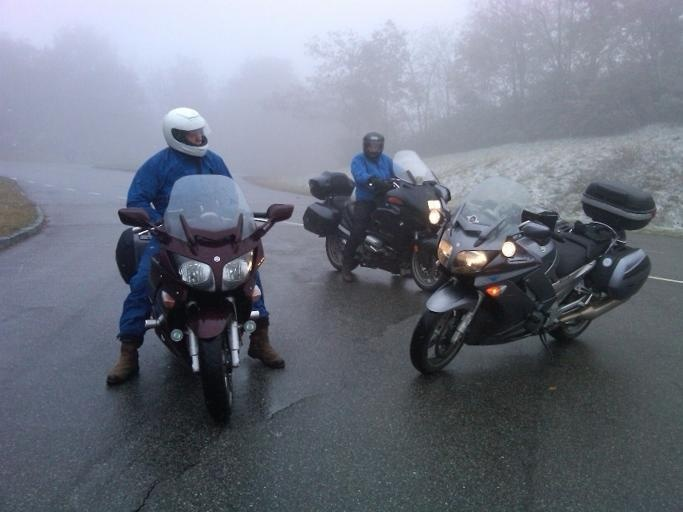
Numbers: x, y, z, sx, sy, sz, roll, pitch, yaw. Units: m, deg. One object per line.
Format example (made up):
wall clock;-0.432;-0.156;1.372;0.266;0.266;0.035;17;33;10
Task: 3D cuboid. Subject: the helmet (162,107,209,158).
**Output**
helmet;-1.398;-1.092;4.250;0.396;0.362;0.312;16;25;5

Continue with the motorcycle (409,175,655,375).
motorcycle;1.942;-0.081;5.309;3.189;1.941;1.381;-4;25;-30

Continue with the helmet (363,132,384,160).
helmet;0.488;-1.730;7.420;0.314;0.390;0.404;1;48;2

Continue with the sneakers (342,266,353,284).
sneakers;0.098;0.302;7.489;0.100;0.134;0.303;-4;19;-8

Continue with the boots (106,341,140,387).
boots;-1.968;0.925;4.285;0.139;0.310;0.401;-5;5;11

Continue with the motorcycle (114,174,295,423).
motorcycle;-1.267;0.275;3.923;1.221;1.818;0.828;7;15;19
